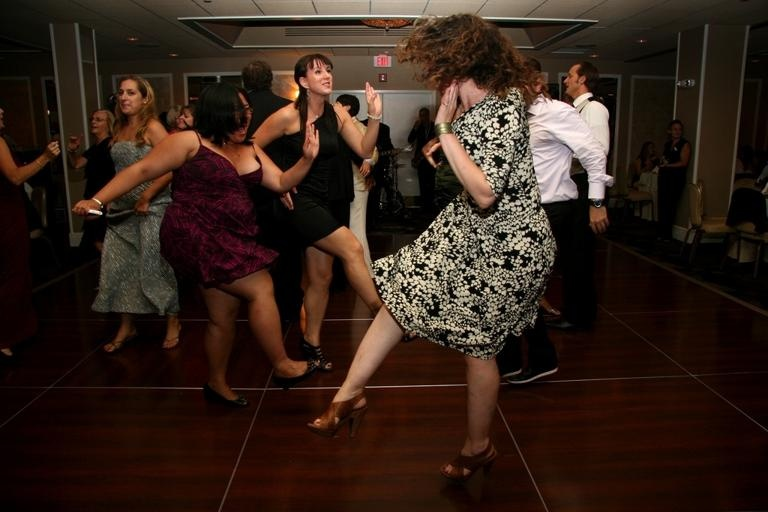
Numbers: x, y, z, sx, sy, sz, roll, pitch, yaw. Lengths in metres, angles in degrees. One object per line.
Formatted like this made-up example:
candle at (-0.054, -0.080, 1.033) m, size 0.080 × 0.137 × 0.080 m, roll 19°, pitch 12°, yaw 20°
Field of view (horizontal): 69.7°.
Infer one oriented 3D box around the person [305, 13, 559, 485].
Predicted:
person at (0.483, 0.013, 3.134) m, size 0.934 × 2.582 × 0.535 m, roll 4°, pitch 19°, yaw 12°

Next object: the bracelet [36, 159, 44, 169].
bracelet at (-2.756, -0.741, 4.417) m, size 0.015 × 0.060 × 0.063 m, roll -3°, pitch 17°, yaw -9°

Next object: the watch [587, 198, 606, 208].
watch at (1.612, -0.401, 4.146) m, size 0.094 × 0.063 × 0.090 m, roll -3°, pitch 11°, yaw 1°

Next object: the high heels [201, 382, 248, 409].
high heels at (-1.144, 1.001, 4.007) m, size 0.372 × 0.153 × 0.138 m, roll 4°, pitch 5°, yaw -3°

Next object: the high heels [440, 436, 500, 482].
high heels at (0.492, 1.219, 3.324) m, size 0.344 × 0.174 × 0.194 m, roll -10°, pitch 3°, yaw -8°

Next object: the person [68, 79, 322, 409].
person at (-1.080, -0.011, 3.699) m, size 1.312 × 2.172 × 0.416 m, roll -4°, pitch 18°, yaw -10°

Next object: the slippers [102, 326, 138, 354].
slippers at (-2.285, 0.714, 4.767) m, size 0.114 × 0.120 × 0.303 m, roll 5°, pitch 9°, yaw 12°

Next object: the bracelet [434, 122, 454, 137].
bracelet at (0.309, -0.652, 2.863) m, size 0.075 × 0.056 × 0.074 m, roll -5°, pitch 8°, yaw -39°

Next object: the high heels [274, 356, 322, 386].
high heels at (-0.617, 0.871, 4.079) m, size 0.391 × 0.105 × 0.130 m, roll -29°, pitch 35°, yaw -36°

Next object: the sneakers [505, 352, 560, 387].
sneakers at (1.134, 0.855, 4.235) m, size 0.476 × 0.206 × 0.165 m, roll -11°, pitch 11°, yaw -4°
